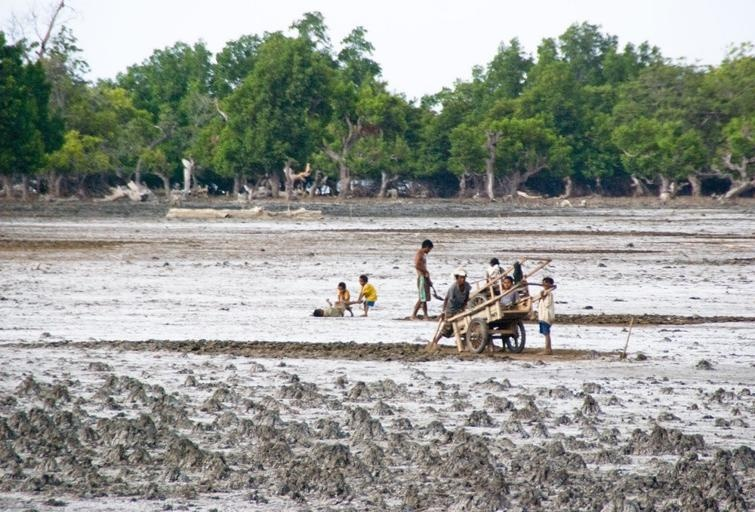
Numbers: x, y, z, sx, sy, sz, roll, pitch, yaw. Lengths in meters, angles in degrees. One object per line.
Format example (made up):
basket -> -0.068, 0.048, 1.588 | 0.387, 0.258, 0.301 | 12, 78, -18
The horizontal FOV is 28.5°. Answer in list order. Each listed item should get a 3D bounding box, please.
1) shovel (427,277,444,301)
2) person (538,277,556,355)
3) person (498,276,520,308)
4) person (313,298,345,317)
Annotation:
shovel -> 2.824, 1.677, 73.030 | 0.261, 1.216, 0.707 | -31, 10, 4
person -> 8.001, 2.803, 69.877 | 0.750, 3.554, 1.378 | 2, 2, 6
person -> 6.231, 1.701, 69.797 | 0.847, 1.433, 0.749 | 1, 2, -17
person -> -2.335, 2.569, 72.938 | 1.561, 0.756, 1.055 | 2, 2, -4
